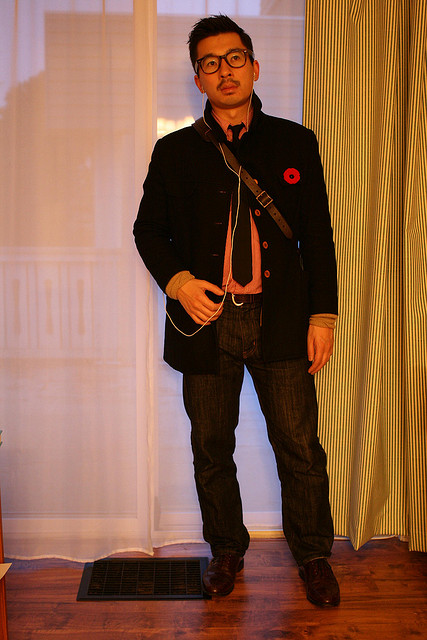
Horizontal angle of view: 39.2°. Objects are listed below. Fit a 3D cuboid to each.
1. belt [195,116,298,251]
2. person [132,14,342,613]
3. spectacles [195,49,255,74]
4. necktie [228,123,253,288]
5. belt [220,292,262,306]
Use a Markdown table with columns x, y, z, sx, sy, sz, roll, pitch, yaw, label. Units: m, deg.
| x | y | z | sx | sy | sz | roll | pitch | yaw | label |
| --- | --- | --- | --- | --- | --- | --- | --- | --- | --- |
| 0.089 | -0.368 | 1.674 | 0.063 | 0.462 | 0.049 | -38 | -16 | 1 | belt |
| 0.065 | -0.024 | 1.686 | 0.563 | 1.629 | 0.347 | -2 | 6 | -8 | person |
| 0.024 | -0.718 | 1.659 | 0.163 | 0.074 | 0.070 | 0 | 6 | 5 | spectacles |
| 0.066 | -0.264 | 1.648 | 0.047 | 0.326 | 0.031 | -3 | 5 | 7 | necktie |
| 0.074 | -0.062 | 1.675 | 0.114 | 0.037 | 0.027 | -1 | 6 | -1 | belt |
